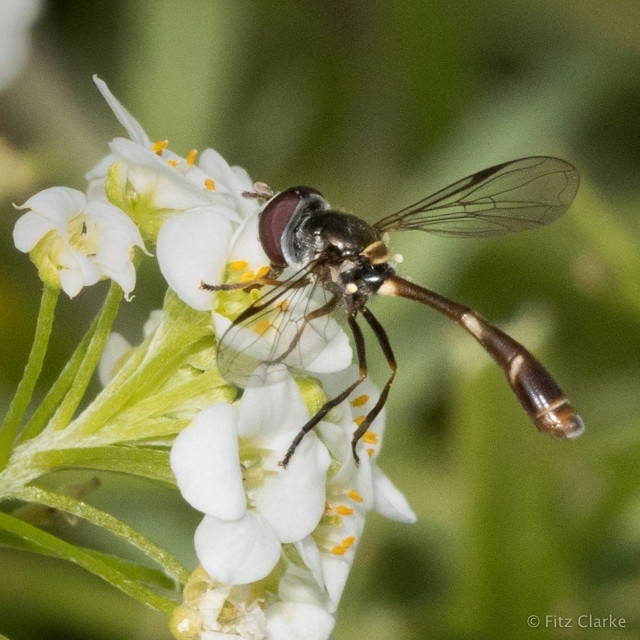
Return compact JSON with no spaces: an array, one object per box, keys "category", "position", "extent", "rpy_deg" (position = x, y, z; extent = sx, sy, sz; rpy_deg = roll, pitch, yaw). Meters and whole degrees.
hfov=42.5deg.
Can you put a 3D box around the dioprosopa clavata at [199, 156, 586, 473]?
[{"category":"dioprosopa clavata","position":[0.026,0.018,0.804],"extent":[0.317,0.287,0.086],"rpy_deg":[30,-40,-1]}]
